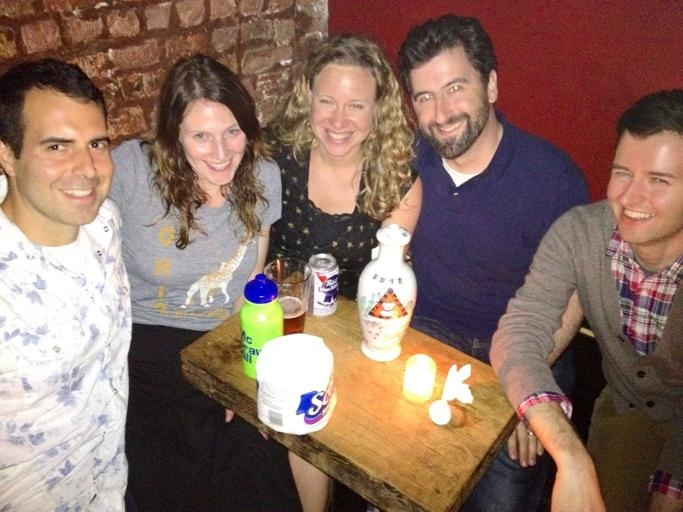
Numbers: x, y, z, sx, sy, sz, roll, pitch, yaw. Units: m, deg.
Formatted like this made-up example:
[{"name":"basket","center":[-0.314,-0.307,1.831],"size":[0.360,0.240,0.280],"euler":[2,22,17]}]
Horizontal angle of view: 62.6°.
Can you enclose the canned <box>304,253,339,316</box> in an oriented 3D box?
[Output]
[{"name":"canned","center":[-0.076,0.114,2.107],"size":[0.118,0.211,0.118],"euler":[-9,40,-19]}]

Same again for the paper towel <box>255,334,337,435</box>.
[{"name":"paper towel","center":[-0.151,0.378,1.811],"size":[0.269,0.205,0.273],"euler":[-8,35,-16]}]

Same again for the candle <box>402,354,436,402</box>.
[{"name":"candle","center":[0.259,0.399,1.927],"size":[0.133,0.147,0.132],"euler":[2,19,7]}]
